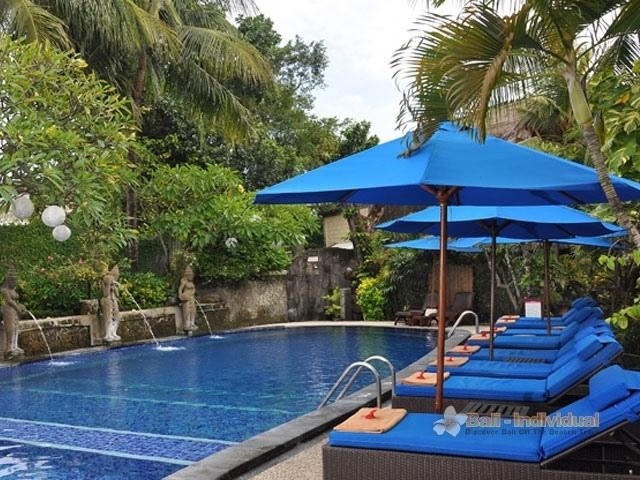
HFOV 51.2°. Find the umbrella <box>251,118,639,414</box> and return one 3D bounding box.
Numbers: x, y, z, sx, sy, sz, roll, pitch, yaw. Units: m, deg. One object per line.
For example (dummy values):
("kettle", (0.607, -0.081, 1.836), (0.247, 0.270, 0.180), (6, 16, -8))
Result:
("umbrella", (1.338, 0.325, 7.724), (4.032, 3.080, 3.400), (1, -6, 5))

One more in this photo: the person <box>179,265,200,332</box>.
("person", (-3.563, 1.672, 18.056), (0.473, 1.775, 0.677), (2, -5, -3))

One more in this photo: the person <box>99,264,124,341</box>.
("person", (-4.822, 1.499, 15.430), (0.503, 1.754, 0.444), (5, -6, -31))

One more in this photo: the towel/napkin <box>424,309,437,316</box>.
("towel/napkin", (3.117, 2.034, 18.756), (0.174, 0.259, 0.262), (-2, -4, 27))

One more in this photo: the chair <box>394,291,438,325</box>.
("chair", (2.885, 2.019, 19.140), (1.155, 0.808, 0.790), (7, -10, -42))

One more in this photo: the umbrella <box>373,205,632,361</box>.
("umbrella", (3.877, 0.956, 13.772), (3.398, 2.196, 3.355), (-1, 1, -45))
